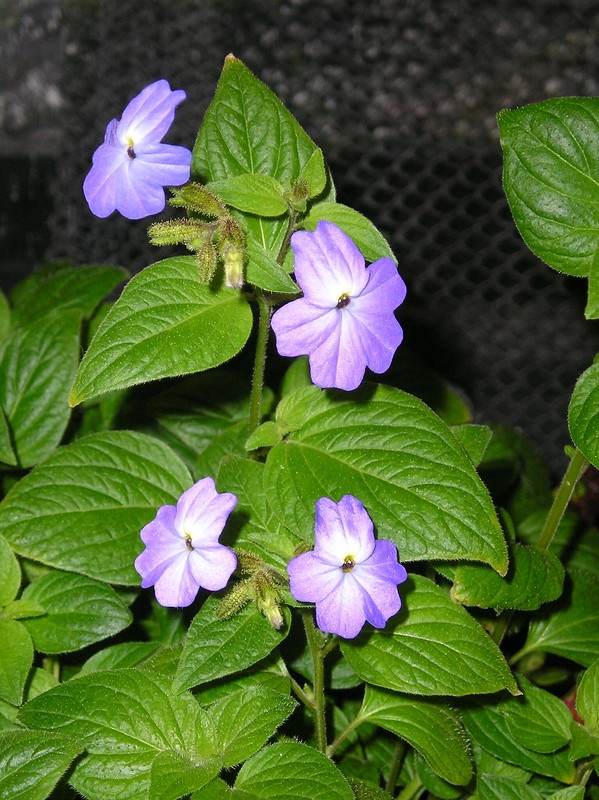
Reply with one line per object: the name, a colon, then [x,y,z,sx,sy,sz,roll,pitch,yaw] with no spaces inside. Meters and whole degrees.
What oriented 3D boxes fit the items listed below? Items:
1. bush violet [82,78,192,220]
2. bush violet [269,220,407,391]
bush violet: [-0.224,-0.339,1.104,0.167,0.115,0.204,-13,50,-2]
bush violet: [0.052,-0.119,1.041,0.154,0.172,0.156,5,53,13]
